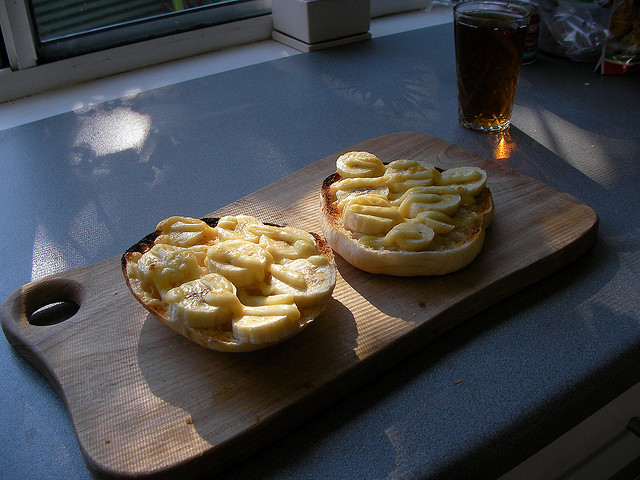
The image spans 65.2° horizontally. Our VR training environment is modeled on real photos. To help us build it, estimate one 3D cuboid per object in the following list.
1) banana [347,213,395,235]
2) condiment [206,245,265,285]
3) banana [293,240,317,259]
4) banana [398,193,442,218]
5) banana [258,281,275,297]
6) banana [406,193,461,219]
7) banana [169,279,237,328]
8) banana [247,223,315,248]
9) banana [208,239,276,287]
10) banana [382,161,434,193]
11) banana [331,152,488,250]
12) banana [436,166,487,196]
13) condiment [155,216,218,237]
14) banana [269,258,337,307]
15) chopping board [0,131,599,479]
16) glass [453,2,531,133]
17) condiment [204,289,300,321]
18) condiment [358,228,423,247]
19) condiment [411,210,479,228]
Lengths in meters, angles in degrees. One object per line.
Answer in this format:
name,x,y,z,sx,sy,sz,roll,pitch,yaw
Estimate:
banana,0.074,-0.024,0.746,0.044,0.012,0.042,18,27,22
condiment,-0.110,0.029,0.659,0.077,0.028,0.053,14,46,15
banana,-0.021,0.012,0.690,0.021,0.009,0.027,-38,66,-17
banana,0.146,-0.054,0.763,0.045,0.016,0.042,5,44,20
banana,-0.069,0.063,0.644,0.018,0.005,0.015,4,49,2
banana,0.169,-0.062,0.760,0.052,0.013,0.053,24,46,40
banana,-0.150,0.077,0.637,0.093,0.023,0.084,-9,32,-24
banana,-0.060,-0.009,0.709,0.076,0.011,0.038,14,10,2
banana,-0.109,0.023,0.668,0.092,0.030,0.072,8,47,6
banana,0.138,-0.102,0.812,0.062,0.013,0.058,-27,42,-17
banana,0.125,-0.061,0.776,0.194,0.037,0.177,-15,35,-15
banana,0.236,-0.098,0.816,0.060,0.018,0.056,-33,43,-27
condiment,-0.192,-0.020,0.715,0.058,0.015,0.040,1,7,-2
banana,-0.014,0.055,0.653,0.067,0.015,0.065,-29,48,-31
chopping board,0.076,0.085,0.730,0.811,0.055,0.406,-21,40,-28
glass,0.356,-0.372,1.087,0.150,0.243,0.155,5,42,11
condiment,-0.086,0.076,0.631,0.123,0.027,0.044,1,26,-26
condiment,0.105,-0.004,0.727,0.073,0.015,0.034,1,18,17
condiment,0.194,-0.032,0.753,0.073,0.013,0.041,4,9,-4
